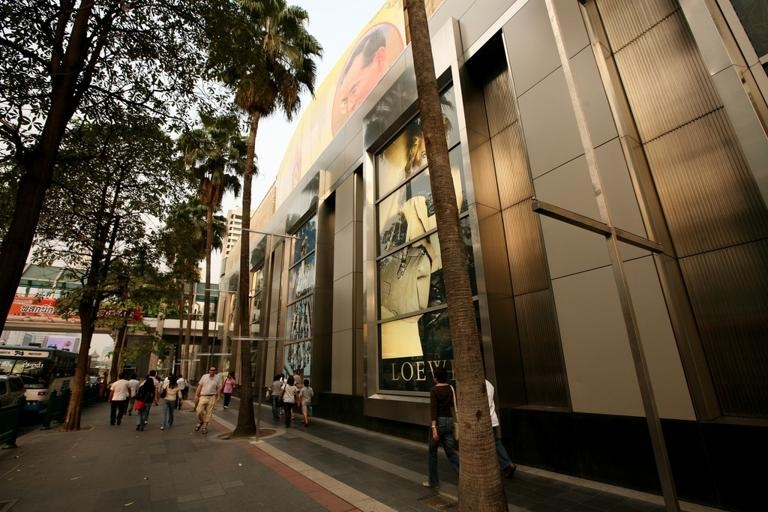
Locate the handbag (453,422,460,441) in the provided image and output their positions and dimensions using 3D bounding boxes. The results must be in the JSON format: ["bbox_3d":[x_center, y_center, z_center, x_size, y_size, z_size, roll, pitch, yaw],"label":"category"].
[{"bbox_3d":[1.507,3.604,8.751,0.070,0.299,0.353,-3,-17,12],"label":"handbag"}]

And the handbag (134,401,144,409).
[{"bbox_3d":[-9.410,5.664,16.116,0.252,0.376,0.877,15,-22,-38],"label":"handbag"}]
